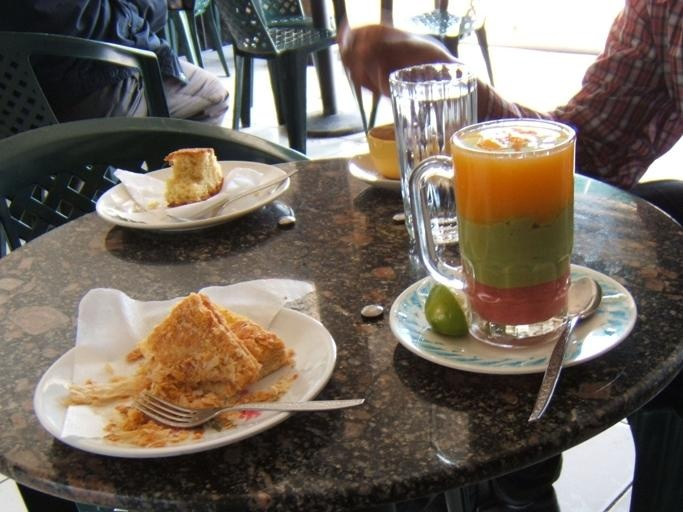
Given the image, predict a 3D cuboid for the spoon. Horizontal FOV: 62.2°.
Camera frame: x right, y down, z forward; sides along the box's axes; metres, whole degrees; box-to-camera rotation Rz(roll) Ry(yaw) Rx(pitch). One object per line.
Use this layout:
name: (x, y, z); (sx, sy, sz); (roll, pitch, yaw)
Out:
spoon: (0.286, 0.092, 0.662); (0.053, 0.035, 0.250); (-30, 16, 48)

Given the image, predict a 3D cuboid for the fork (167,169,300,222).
fork: (-0.211, -0.112, 1.077); (0.241, 0.031, 0.036); (-22, 50, -25)

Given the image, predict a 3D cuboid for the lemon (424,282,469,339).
lemon: (0.121, 0.066, 0.653); (0.052, 0.037, 0.056); (-4, 55, 3)
